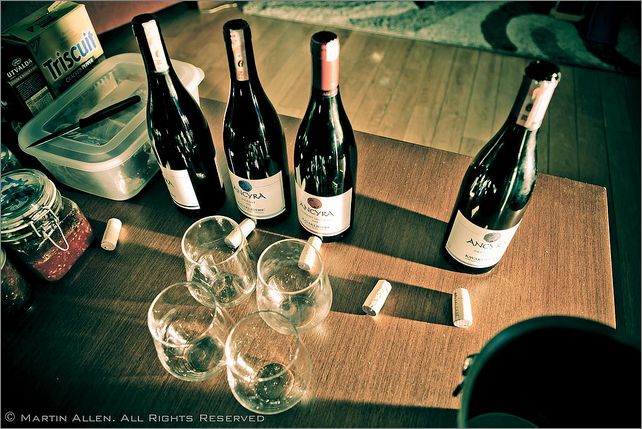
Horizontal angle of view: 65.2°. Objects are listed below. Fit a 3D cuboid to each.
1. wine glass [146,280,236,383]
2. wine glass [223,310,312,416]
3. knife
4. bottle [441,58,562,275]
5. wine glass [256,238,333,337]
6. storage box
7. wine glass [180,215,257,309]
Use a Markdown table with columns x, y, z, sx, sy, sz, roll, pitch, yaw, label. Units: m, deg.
| x | y | z | sx | sy | sz | roll | pitch | yaw | label |
| --- | --- | --- | --- | --- | --- | --- | --- | --- | --- |
| -0.249 | 0.226 | 0.962 | 0.152 | 0.148 | 0.146 | -29 | 54 | -23 | wine glass |
| -0.099 | 0.280 | 0.929 | 0.147 | 0.168 | 0.142 | 22 | 52 | 19 | wine glass |
| -0.549 | -0.215 | 1.173 | 0.242 | 0.034 | 0.027 | -29 | 83 | -18 | knife |
| 0.356 | -0.087 | 0.979 | 0.140 | 0.420 | 0.224 | 23 | 53 | 20 | bottle |
| -0.015 | 0.145 | 1.064 | 0.184 | 0.173 | 0.179 | 12 | 59 | 10 | wine glass |
| -0.465 | -0.187 | 1.301 | 0.339 | 0.148 | 0.417 | 30 | 67 | 23 | storage box |
| -0.242 | 0.105 | 1.113 | 0.196 | 0.208 | 0.198 | 1 | 88 | -22 | wine glass |
